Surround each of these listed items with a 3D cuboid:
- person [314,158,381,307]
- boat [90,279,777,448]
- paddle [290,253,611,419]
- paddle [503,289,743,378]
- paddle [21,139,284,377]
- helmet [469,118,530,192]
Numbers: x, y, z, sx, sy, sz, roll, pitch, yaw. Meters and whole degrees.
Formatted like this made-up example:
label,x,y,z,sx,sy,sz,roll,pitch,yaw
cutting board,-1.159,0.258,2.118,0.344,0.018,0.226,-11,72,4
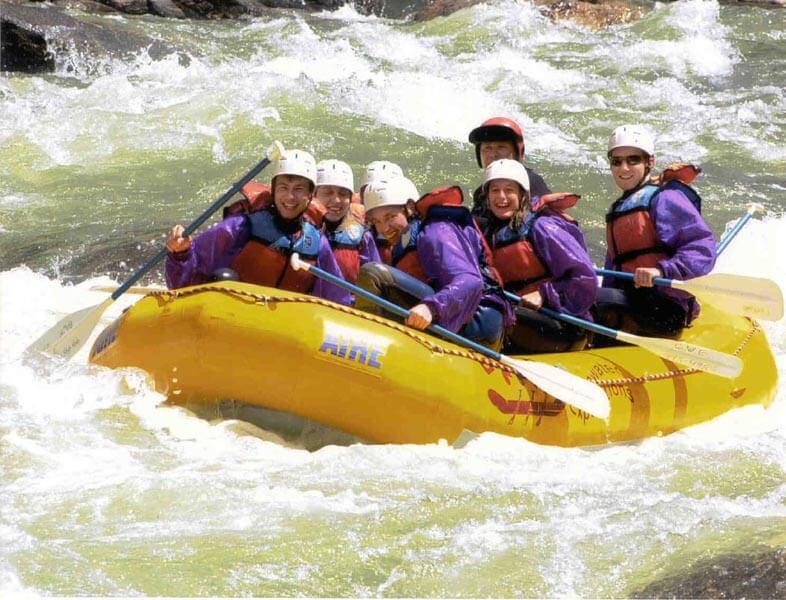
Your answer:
label,x,y,z,sx,sy,sz,roll,pitch,yaw
person,-0.380,-0.592,7.012,0.535,0.907,0.324,-15,17,20
boat,0.218,0.582,6.130,3.024,0.660,1.771,18,-6,-13
paddle,0.351,0.254,5.987,2.147,0.209,0.248,25,8,-3
paddle,1.516,0.220,6.345,1.528,0.110,0.170,14,44,-28
paddle,-2.138,-0.362,7.769,0.393,3.577,0.364,55,3,30
helmet,0.828,-1.206,7.202,0.346,0.348,0.462,-8,-8,24
